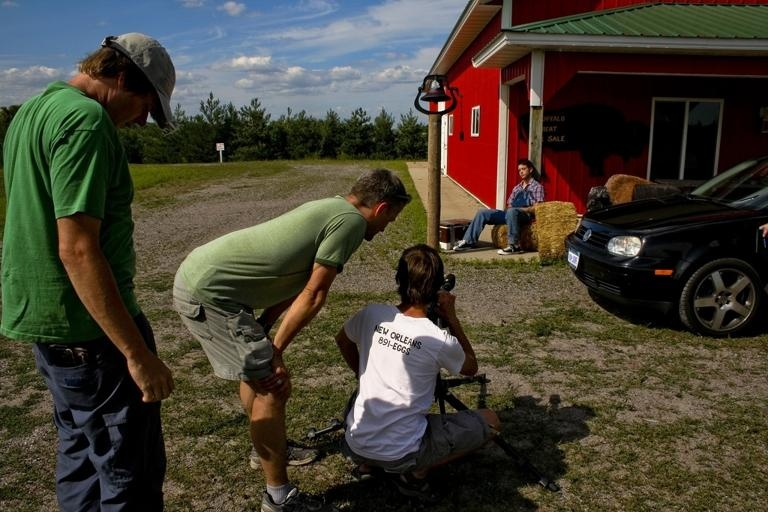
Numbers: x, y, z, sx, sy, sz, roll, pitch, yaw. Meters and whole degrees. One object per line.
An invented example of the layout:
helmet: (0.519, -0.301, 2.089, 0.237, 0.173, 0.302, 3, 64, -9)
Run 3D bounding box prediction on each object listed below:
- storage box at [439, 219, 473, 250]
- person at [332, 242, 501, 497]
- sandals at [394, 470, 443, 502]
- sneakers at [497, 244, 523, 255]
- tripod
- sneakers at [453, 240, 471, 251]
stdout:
storage box: (1.225, -0.425, 10.447, 0.704, 0.519, 0.403, -10, 13, -39)
person: (0.268, 0.965, 4.990, 1.050, 1.620, 0.911, 19, 29, 30)
sandals: (0.237, 1.663, 4.570, 0.452, 0.237, 0.178, 8, 26, -19)
sneakers: (2.064, -0.107, 9.994, 0.407, 0.195, 0.172, 3, 0, -14)
tripod: (0.617, 1.325, 4.885, 1.112, 0.546, 1.141, 6, 14, 32)
sneakers: (1.315, -0.186, 10.360, 0.382, 0.193, 0.136, 1, 5, -24)
